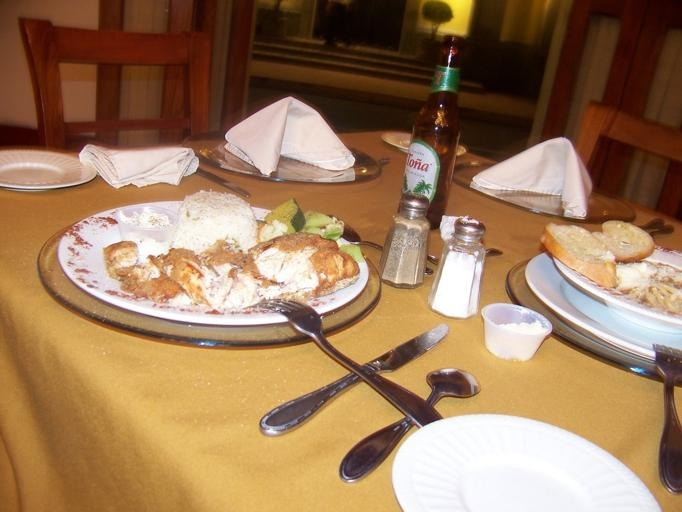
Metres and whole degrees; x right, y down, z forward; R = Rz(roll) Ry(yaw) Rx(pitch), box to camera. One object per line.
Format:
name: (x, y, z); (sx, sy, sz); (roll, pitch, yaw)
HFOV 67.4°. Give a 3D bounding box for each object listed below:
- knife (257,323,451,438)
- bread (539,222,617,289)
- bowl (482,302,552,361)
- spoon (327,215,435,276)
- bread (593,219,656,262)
knife: (0.009, 0.152, 0.610); (0.034, 0.014, 0.276); (27, 35, 34)
bread: (0.366, 0.004, 0.832); (0.102, 0.029, 0.106); (9, 38, -34)
bowl: (0.248, 0.110, 0.735); (0.100, 0.048, 0.098); (5, 19, -2)
spoon: (0.067, -0.014, 0.845); (0.226, 0.026, 0.036); (21, 50, 20)
bread: (0.493, -0.025, 0.896); (0.081, 0.024, 0.100); (-15, 29, -6)
